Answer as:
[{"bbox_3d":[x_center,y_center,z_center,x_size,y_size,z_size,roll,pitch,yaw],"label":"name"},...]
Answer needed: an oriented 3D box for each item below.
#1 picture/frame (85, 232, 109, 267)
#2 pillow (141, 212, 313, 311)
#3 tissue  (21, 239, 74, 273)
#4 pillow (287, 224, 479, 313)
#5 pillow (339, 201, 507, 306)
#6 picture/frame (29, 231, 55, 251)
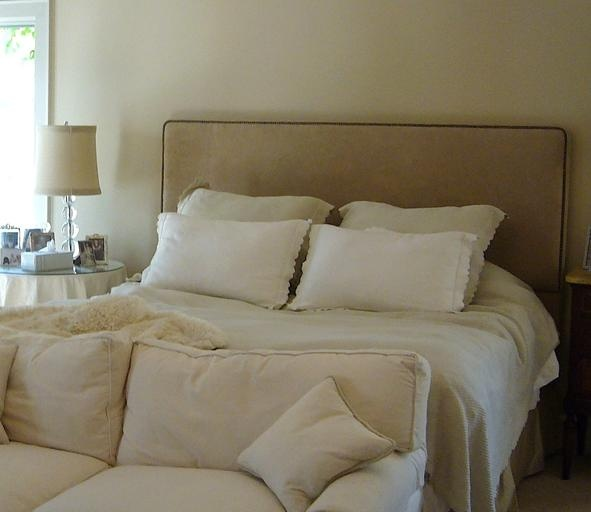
[{"bbox_3d":[-1.167,-0.032,3.567,0.159,0.282,0.040,-1,4,-8],"label":"picture/frame"},{"bbox_3d":[-0.335,0.012,2.920,0.755,0.415,0.338,2,5,20],"label":"pillow"},{"bbox_3d":[-1.389,0.026,3.382,0.141,0.113,0.204,4,4,38],"label":"tissue "},{"bbox_3d":[0.375,0.060,2.675,0.795,0.368,0.307,2,5,20],"label":"pillow"},{"bbox_3d":[0.628,-0.172,2.918,0.706,0.231,0.474,8,49,30],"label":"pillow"},{"bbox_3d":[-1.451,-0.083,3.469,0.093,0.123,0.015,1,-2,-29],"label":"picture/frame"}]
